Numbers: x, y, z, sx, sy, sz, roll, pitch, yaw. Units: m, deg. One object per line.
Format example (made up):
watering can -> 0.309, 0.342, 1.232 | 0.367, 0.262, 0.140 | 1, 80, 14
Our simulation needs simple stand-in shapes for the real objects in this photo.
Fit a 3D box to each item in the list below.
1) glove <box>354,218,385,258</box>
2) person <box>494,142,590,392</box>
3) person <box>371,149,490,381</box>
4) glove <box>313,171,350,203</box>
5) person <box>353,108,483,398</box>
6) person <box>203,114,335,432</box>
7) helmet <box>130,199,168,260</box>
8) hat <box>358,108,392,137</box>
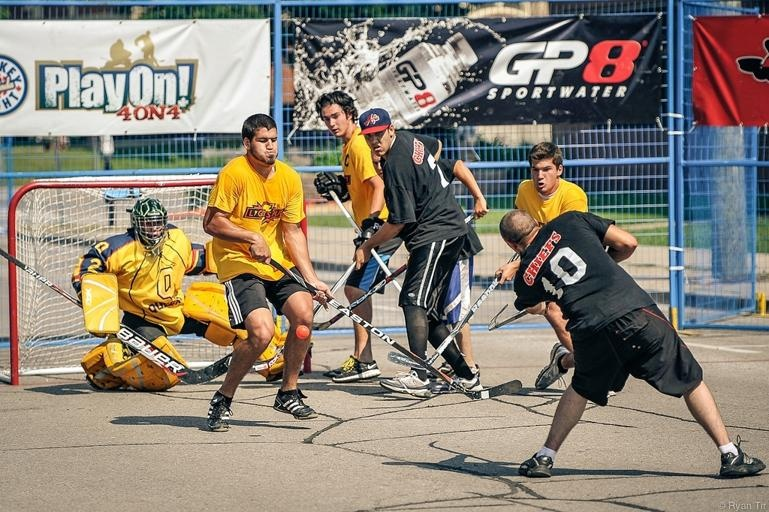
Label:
glove -> -0.091, -0.170, 12.506 | 0.092, 0.301, 0.298 | 41, 19, -12
person -> 1.491, 0.111, 12.396 | 1.044, 2.315, 0.921 | -6, 1, -16
person -> 0.685, 0.034, 13.189 | 0.946, 2.466, 1.460 | -1, -12, -22
glove -> -0.483, -0.697, 13.202 | 0.360, 0.225, 0.162 | 17, -45, -31
person -> 0.212, -0.060, 12.405 | 1.150, 2.608, 1.045 | 1, 2, 38
person -> -1.055, 0.146, 11.655 | 1.160, 2.680, 1.118 | 4, 9, 34
helmet -> -2.192, -0.276, 12.491 | 0.332, 0.532, 0.234 | 1, 5, -11
hat -> -0.075, -1.226, 12.059 | 0.213, 0.148, 0.273 | -10, 17, 20
